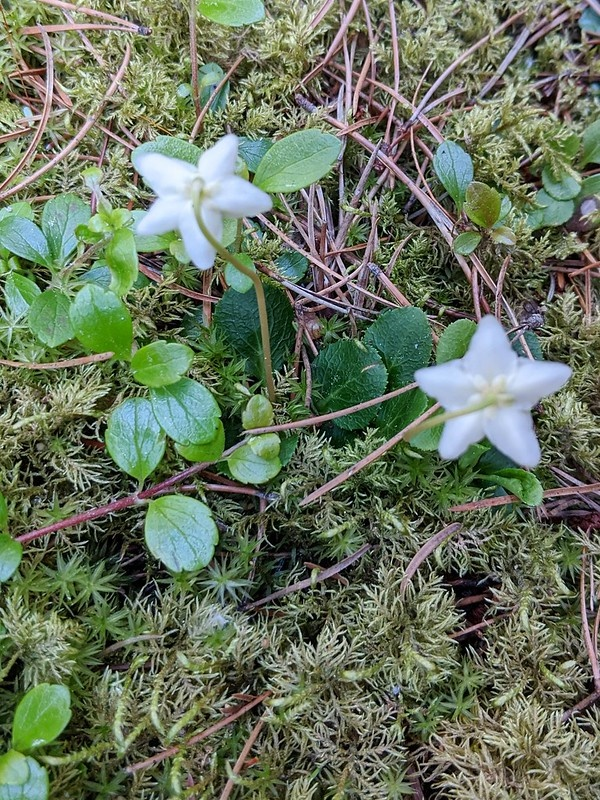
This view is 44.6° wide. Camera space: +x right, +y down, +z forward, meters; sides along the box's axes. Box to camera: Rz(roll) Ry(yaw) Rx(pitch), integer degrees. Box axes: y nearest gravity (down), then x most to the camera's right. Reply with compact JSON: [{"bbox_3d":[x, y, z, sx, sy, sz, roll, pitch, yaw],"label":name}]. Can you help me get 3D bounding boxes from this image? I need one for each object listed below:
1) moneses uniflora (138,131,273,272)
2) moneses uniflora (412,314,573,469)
[{"bbox_3d":[-0.199,-0.369,1.402,0.242,0.186,0.185,-17,65,-7],"label":"moneses uniflora"},{"bbox_3d":[0.334,-0.017,1.270,0.274,0.116,0.315,20,44,-7],"label":"moneses uniflora"}]
